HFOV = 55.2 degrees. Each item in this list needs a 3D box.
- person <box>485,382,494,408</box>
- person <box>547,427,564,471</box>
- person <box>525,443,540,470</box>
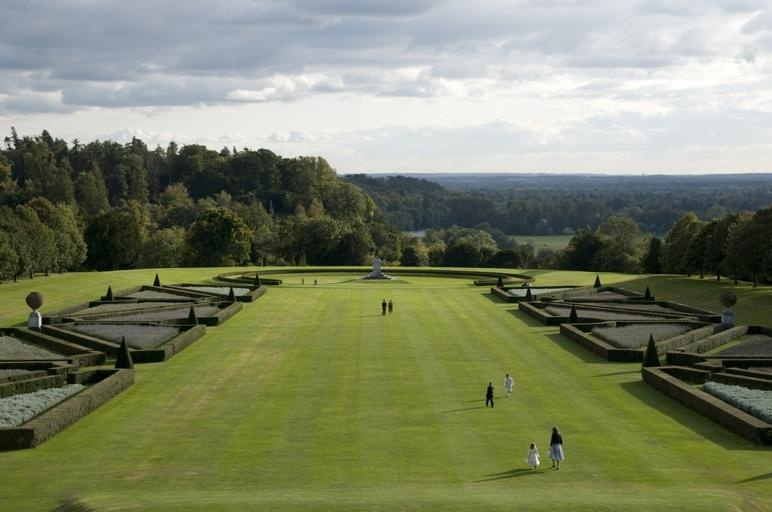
[{"bbox_3d":[4.993,6.537,35.438,0.414,1.090,1.191,2,14,8],"label":"person"},{"bbox_3d":[7.031,7.719,30.269,0.594,1.615,1.214,3,14,13],"label":"person"},{"bbox_3d":[6.062,7.981,30.241,0.585,1.080,1.321,3,14,11],"label":"person"}]
